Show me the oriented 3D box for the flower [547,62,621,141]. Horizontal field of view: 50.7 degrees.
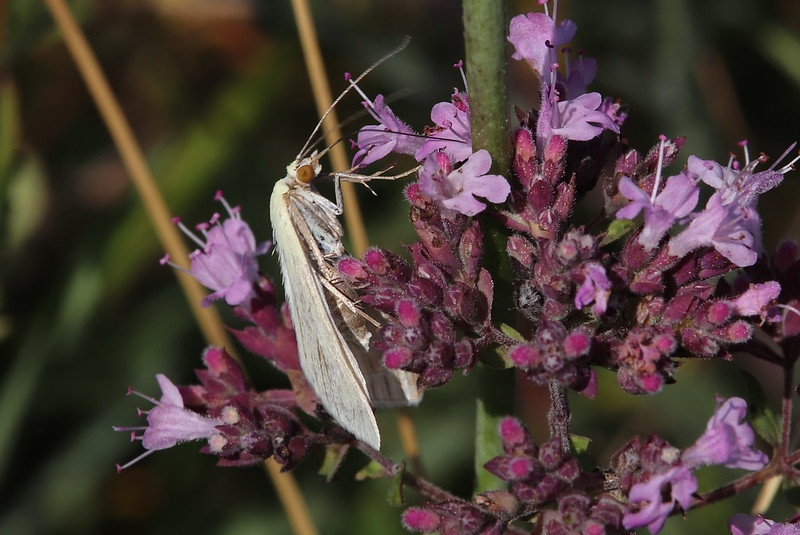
[{"bbox_3d":[0.916,-0.857,4.662,0.380,0.175,0.406,18,-6,-5],"label":"flower"}]
